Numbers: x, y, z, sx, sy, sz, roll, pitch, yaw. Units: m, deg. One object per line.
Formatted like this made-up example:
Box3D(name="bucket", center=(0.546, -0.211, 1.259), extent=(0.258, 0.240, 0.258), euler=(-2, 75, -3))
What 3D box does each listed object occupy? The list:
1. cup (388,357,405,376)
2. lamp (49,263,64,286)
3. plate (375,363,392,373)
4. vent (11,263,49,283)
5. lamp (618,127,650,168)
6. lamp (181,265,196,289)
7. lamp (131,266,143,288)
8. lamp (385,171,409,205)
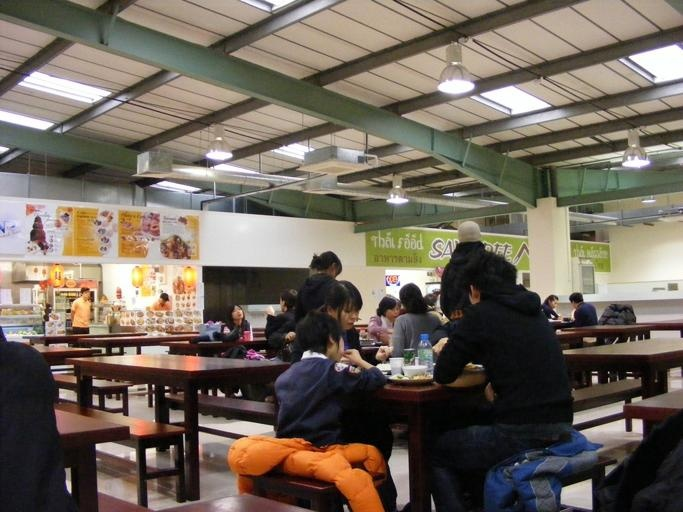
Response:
Box3D(name="cup", center=(0.317, 0.620, 2.946), extent=(0.104, 0.081, 0.099), euler=(1, 0, 0))
Box3D(name="lamp", center=(-6.400, 0.440, 11.884), extent=(0.216, 0.504, 0.424), euler=(0, -2, -34))
Box3D(name="plate", center=(0.244, 0.657, 3.060), extent=(0.109, 0.020, 0.096), euler=(0, -1, 24))
Box3D(name="vent", center=(-7.533, 0.417, 12.734), extent=(0.694, 0.334, 0.688), euler=(-2, -1, 36))
Box3D(name="lamp", center=(4.758, -1.791, 8.566), extent=(0.320, 0.742, 0.857), euler=(-3, -2, 29))
Box3D(name="lamp", center=(-3.654, 0.511, 12.702), extent=(0.363, 0.516, 0.100), euler=(-1, -2, -4))
Box3D(name="lamp", center=(-4.831, 0.480, 12.492), extent=(0.237, 0.464, 0.269), euler=(-1, -2, -25))
Box3D(name="lamp", center=(1.185, -1.485, 11.403), extent=(0.384, 0.680, 0.879), euler=(-2, -2, 6))
